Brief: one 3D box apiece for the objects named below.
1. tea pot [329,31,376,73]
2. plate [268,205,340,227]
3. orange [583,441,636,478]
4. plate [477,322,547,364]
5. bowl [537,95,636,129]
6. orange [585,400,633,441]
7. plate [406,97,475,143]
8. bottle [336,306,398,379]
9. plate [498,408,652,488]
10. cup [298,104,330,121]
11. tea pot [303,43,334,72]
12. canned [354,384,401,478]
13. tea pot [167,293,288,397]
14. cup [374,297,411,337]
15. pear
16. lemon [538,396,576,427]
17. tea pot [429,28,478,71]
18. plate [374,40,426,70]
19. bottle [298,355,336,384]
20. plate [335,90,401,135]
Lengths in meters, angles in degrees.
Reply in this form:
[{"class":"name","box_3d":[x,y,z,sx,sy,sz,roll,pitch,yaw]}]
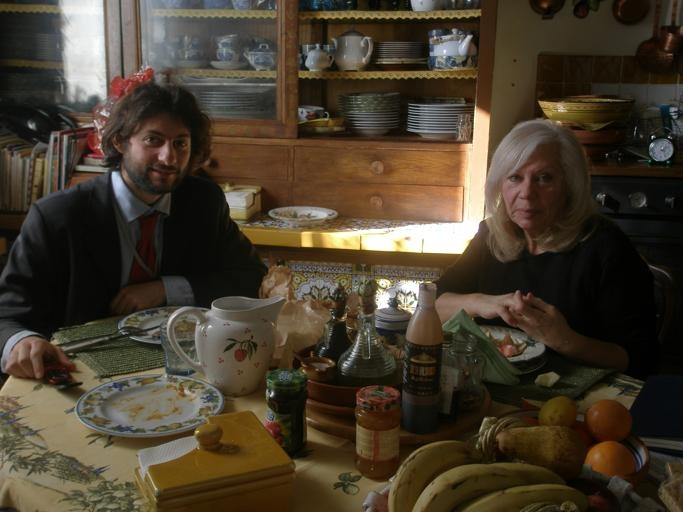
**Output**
[{"class":"tea pot","box_3d":[0.061,-1.048,2.757,0.232,0.167,0.161,8,17,27]},{"class":"plate","box_3d":[-0.198,-0.206,2.800,0.348,0.073,0.247,-1,14,4]},{"class":"orange","box_3d":[0.432,0.329,0.865,0.072,0.058,0.062,5,7,5]},{"class":"plate","box_3d":[0.432,0.222,1.353,0.112,0.019,0.100,7,22,4]},{"class":"bowl","box_3d":[1.271,-0.727,2.769,0.418,0.108,0.380,-1,14,0]},{"class":"orange","box_3d":[0.463,0.289,0.941,0.062,0.061,0.054,-8,17,-23]},{"class":"plate","box_3d":[0.510,-0.711,2.770,0.281,0.108,0.276,-14,23,-37]},{"class":"bottle","box_3d":[0.050,0.174,1.117,0.152,0.180,0.128,0,7,-1]},{"class":"plate","box_3d":[0.449,0.311,0.948,0.180,0.052,0.169,-11,22,0]},{"class":"cup","box_3d":[-0.170,-0.782,2.929,0.134,0.046,0.124,2,20,-1]},{"class":"tea pot","box_3d":[-0.116,-1.023,2.776,0.179,0.117,0.121,-1,19,5]},{"class":"canned","box_3d":[0.064,0.306,0.934,0.071,0.149,0.069,6,18,25]},{"class":"tea pot","box_3d":[-0.246,0.182,1.227,0.278,0.178,0.193,-4,15,-15]},{"class":"cup","box_3d":[0.115,0.144,1.283,0.093,0.082,0.085,1,10,-6]},{"class":"pear","box_3d":[0.283,0.286,0.809,0.115,0.049,0.053,2,-24,6]},{"class":"lemon","box_3d":[0.380,0.268,0.959,0.065,0.042,0.047,-13,13,-26]},{"class":"tea pot","box_3d":[0.540,-1.015,2.650,0.189,0.153,0.253,-17,24,-42]},{"class":"plate","box_3d":[0.304,-1.044,2.788,0.191,0.066,0.177,5,18,20]},{"class":"bottle","box_3d":[-0.044,0.225,1.064,0.056,0.023,0.044,7,8,29]},{"class":"plate","box_3d":[0.152,-0.752,2.822,0.278,0.133,0.256,2,9,17]}]
